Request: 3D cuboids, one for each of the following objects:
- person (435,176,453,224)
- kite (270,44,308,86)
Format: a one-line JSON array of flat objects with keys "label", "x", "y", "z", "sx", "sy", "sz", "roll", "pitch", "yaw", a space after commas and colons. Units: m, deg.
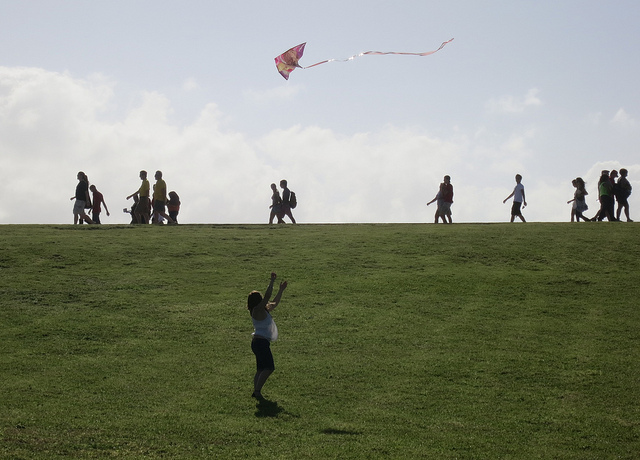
[{"label": "person", "x": 4.401, "y": -1.111, "z": 28.089, "sx": 0.555, "sy": 1.569, "sz": 1.693, "roll": 1, "pitch": 0, "yaw": 8}, {"label": "kite", "x": -1.114, "y": -5.846, "z": 26.308, "sx": 1.213, "sy": 0.156, "sz": 1.194, "roll": 31, "pitch": 4, "yaw": -27}]
